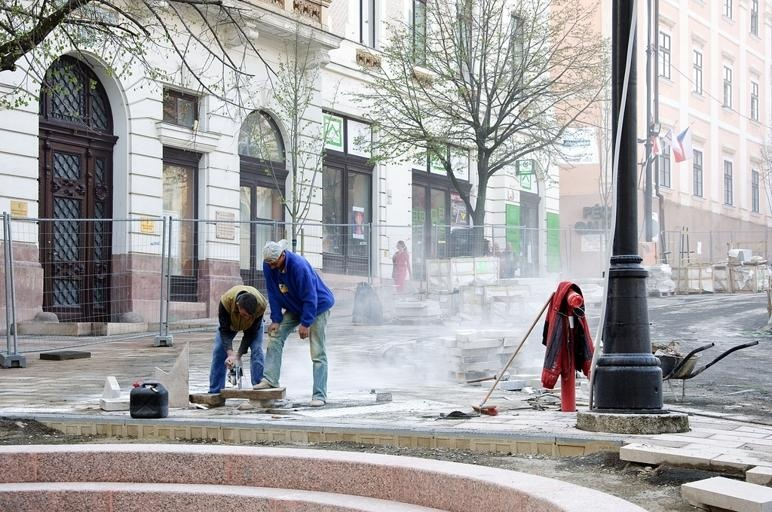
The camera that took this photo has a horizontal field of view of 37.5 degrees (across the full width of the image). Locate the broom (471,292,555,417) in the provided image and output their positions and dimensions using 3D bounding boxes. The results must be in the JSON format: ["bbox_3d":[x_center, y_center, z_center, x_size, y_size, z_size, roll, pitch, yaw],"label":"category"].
[{"bbox_3d":[2.101,1.567,17.580,0.242,2.202,0.861,33,-1,11],"label":"broom"}]

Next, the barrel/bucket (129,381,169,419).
[{"bbox_3d":[-3.513,2.161,16.973,0.482,0.494,0.498,-1,-4,0],"label":"barrel/bucket"}]

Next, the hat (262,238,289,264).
[{"bbox_3d":[-1.770,-0.082,18.149,0.320,0.373,0.733,0,-5,-1],"label":"hat"}]

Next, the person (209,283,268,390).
[{"bbox_3d":[-2.490,1.421,19.250,1.017,2.365,1.562,-1,32,-8],"label":"person"}]

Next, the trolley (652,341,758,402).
[{"bbox_3d":[4.659,1.863,18.595,0.773,0.722,1.889,-2,-6,-45],"label":"trolley"}]
